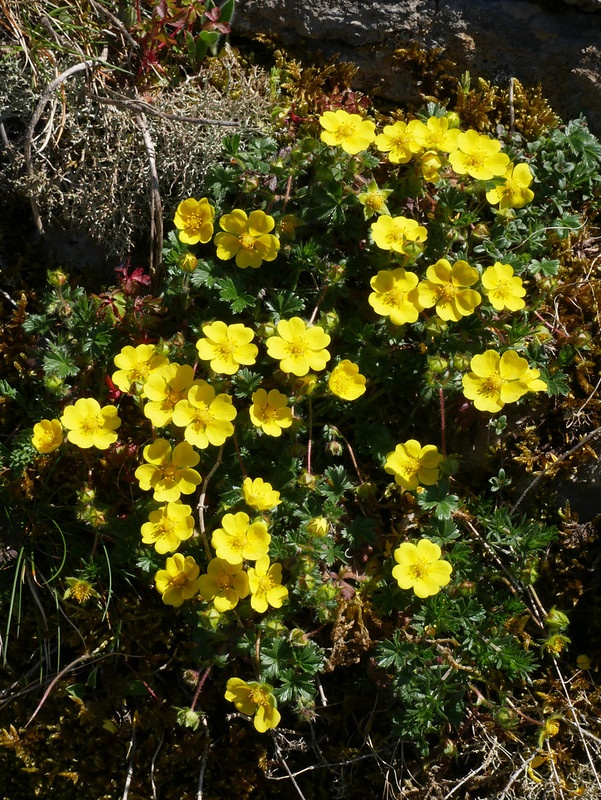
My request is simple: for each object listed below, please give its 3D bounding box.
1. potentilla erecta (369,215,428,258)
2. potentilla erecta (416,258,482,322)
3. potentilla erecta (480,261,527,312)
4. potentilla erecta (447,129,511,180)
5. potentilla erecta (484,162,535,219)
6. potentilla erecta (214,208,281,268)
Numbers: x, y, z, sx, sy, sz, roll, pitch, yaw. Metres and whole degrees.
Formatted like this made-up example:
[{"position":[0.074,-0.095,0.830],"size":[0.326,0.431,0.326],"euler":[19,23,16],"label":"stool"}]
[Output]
[{"position":[0.324,-0.561,2.674],"size":[0.172,0.056,0.156],"euler":[35,66,11],"label":"potentilla erecta"},{"position":[0.501,-0.370,2.662],"size":[0.231,0.204,0.070],"euler":[21,-2,-1],"label":"potentilla erecta"},{"position":[0.680,-0.374,2.619],"size":[0.169,0.155,0.051],"euler":[-26,14,-16],"label":"potentilla erecta"},{"position":[0.619,-0.837,2.679],"size":[0.200,0.132,0.161],"euler":[19,37,7],"label":"potentilla erecta"},{"position":[0.733,-0.734,2.733],"size":[0.200,0.171,0.068],"euler":[-4,25,-22],"label":"potentilla erecta"},{"position":[-0.186,-0.573,2.727],"size":[0.218,0.199,0.153],"euler":[8,39,-8],"label":"potentilla erecta"}]
